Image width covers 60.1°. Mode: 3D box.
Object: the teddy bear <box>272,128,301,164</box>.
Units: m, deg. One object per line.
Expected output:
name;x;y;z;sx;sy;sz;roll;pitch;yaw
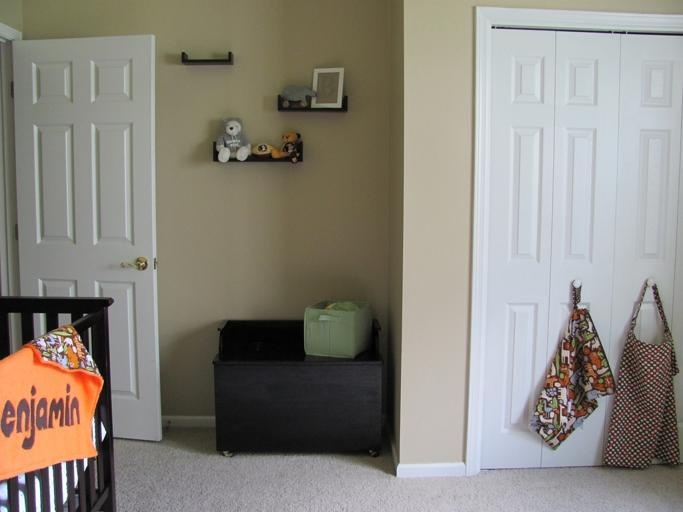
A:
teddy bear;-0.325;-0.684;3.732;0.183;0.294;0.180;4;0;-18

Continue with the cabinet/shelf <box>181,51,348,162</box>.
cabinet/shelf;-0.466;-0.951;3.741;1.016;0.683;0.168;-1;7;-4

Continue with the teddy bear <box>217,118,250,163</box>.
teddy bear;-0.686;-0.746;3.744;0.207;0.270;0.160;-3;16;-17

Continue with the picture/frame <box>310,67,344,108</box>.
picture/frame;-0.085;-1.065;3.723;0.233;0.324;0.026;1;0;8

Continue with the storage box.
storage box;-0.009;0.408;3.599;0.318;0.249;0.332;0;1;12
